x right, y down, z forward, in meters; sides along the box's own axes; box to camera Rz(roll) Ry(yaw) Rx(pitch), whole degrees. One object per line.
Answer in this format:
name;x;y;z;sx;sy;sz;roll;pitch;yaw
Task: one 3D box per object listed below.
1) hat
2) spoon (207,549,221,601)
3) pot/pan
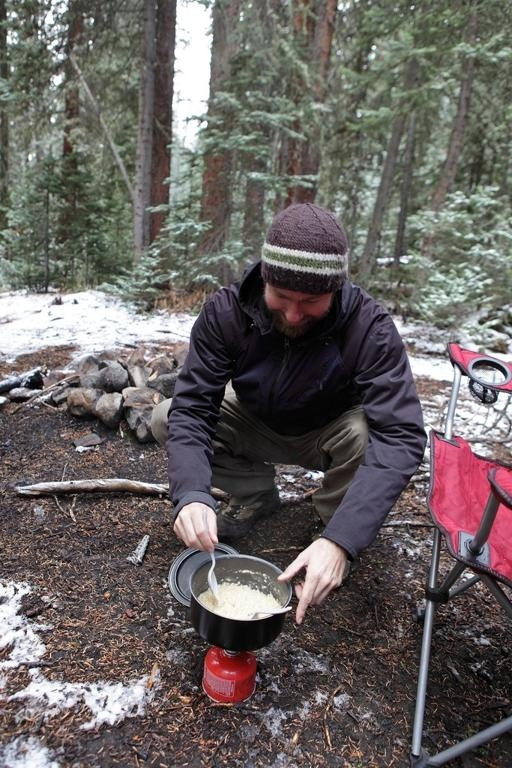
hat;0.147;-0.454;2.081;0.305;0.277;0.297;11;33;-7
spoon;-0.142;0.622;1.904;0.027;0.164;0.041;-19;-31;22
pot/pan;-0.059;0.713;1.854;0.295;0.249;0.387;4;15;-9
